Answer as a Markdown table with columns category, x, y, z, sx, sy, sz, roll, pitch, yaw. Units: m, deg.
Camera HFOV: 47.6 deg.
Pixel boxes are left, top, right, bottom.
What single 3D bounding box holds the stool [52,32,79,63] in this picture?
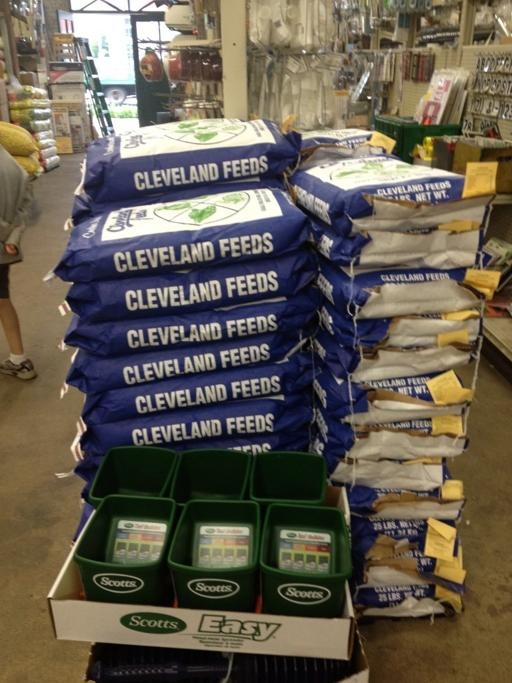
| category | x | y | z | sx | sy | sz | roll | pitch | yaw |
| --- | --- | --- | --- | --- | --- | --- | --- | --- | --- |
| stool | -4.652 | -7.187 | 14.181 | 0.492 | 0.598 | 0.385 | -13 | 32 | -15 |

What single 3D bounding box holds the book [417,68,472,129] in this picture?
| category | x | y | z | sx | sy | sz | roll | pitch | yaw |
| --- | --- | --- | --- | --- | --- | --- | --- | --- | --- |
| book | 1.344 | -1.703 | 4.034 | 0.146 | 0.452 | 0.401 | 24 | -18 | -35 |
